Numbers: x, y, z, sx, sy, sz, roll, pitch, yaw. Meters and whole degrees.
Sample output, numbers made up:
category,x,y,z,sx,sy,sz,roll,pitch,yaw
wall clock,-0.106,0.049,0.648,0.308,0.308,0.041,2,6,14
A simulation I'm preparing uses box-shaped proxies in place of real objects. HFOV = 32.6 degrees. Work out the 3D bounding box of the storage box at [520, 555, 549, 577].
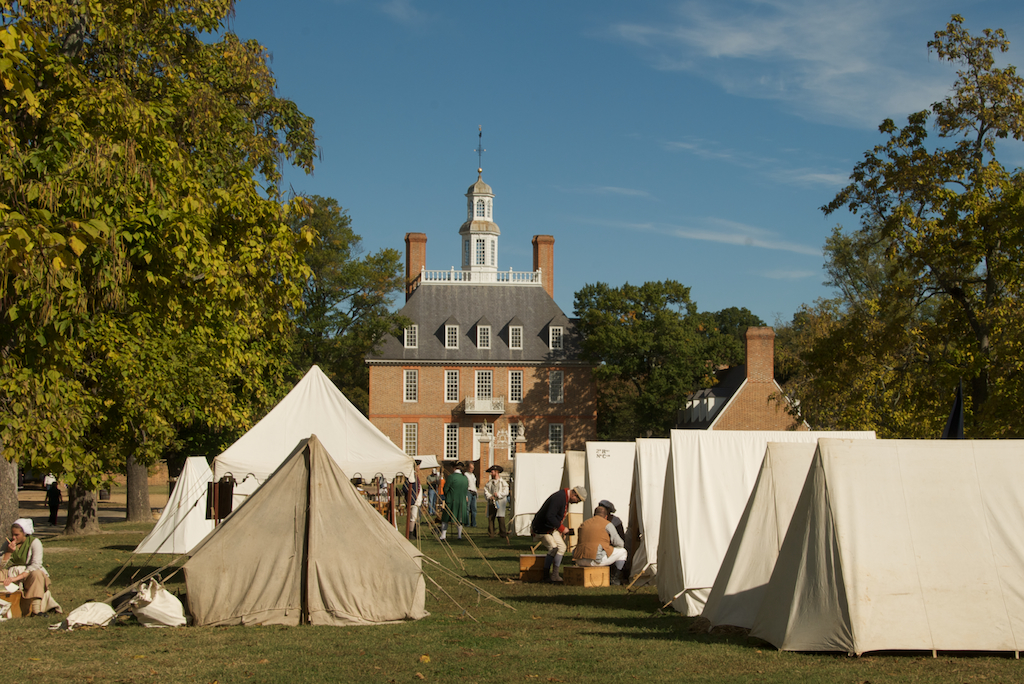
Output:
category,x,y,z,sx,sy,sz,roll,pitch,yaw
storage box,0.483,5.058,40.464,0.455,0.368,0.474,1,-10,-6
